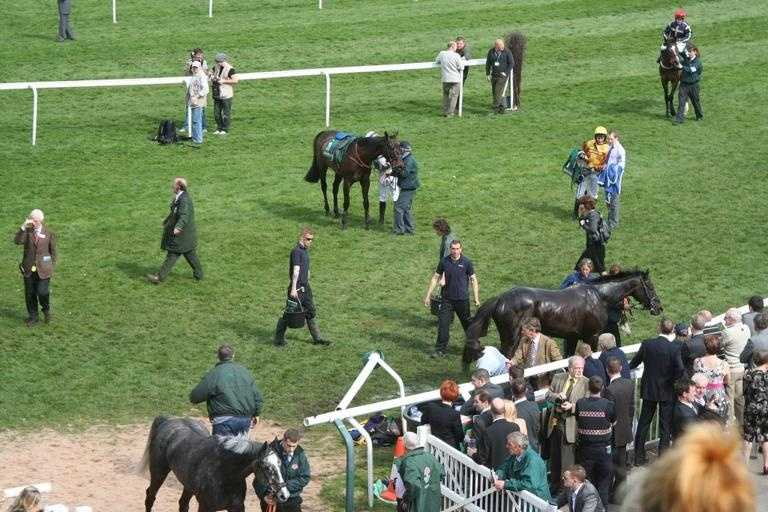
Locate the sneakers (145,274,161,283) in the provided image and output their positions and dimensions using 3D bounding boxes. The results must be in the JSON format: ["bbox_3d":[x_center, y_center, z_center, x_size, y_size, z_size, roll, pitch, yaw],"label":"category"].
[{"bbox_3d":[-4.680,0.498,36.192,0.350,0.137,0.122,16,40,-4],"label":"sneakers"}]

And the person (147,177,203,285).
[{"bbox_3d":[-4.184,-0.462,36.118,0.948,2.141,0.836,-4,11,-6],"label":"person"}]

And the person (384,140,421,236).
[{"bbox_3d":[0.438,-1.345,37.650,0.564,2.024,0.660,-3,11,-3],"label":"person"}]

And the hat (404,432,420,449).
[{"bbox_3d":[0.473,3.201,30.616,0.264,0.368,0.262,-2,39,-3],"label":"hat"}]

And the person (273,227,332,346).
[{"bbox_3d":[-1.648,0.604,35.050,1.036,2.343,1.256,-3,11,-4],"label":"person"}]

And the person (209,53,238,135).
[{"bbox_3d":[-3.642,-3.633,40.963,0.599,1.868,0.895,-4,11,-4],"label":"person"}]

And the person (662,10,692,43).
[{"bbox_3d":[6.871,-5.309,41.886,0.566,0.689,1.215,-1,11,8],"label":"person"}]

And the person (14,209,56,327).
[{"bbox_3d":[-6.741,0.243,34.854,0.735,2.257,0.761,-5,12,-11],"label":"person"}]

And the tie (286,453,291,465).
[{"bbox_3d":[-1.621,3.517,30.753,0.106,0.131,0.038,6,-1,5],"label":"tie"}]

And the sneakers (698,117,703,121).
[{"bbox_3d":[7.521,-3.182,42.335,0.126,0.064,0.101,4,-3,-2],"label":"sneakers"}]

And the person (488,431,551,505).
[{"bbox_3d":[2.407,3.937,30.727,1.185,1.601,0.810,-4,16,-12],"label":"person"}]

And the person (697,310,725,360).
[{"bbox_3d":[5.919,1.510,32.381,0.264,0.478,0.919,-7,47,-2],"label":"person"}]

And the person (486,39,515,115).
[{"bbox_3d":[2.771,-4.171,42.339,0.659,1.789,1.093,-2,11,4],"label":"person"}]

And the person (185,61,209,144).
[{"bbox_3d":[-4.190,-3.383,40.484,0.489,1.906,0.807,-4,11,-5],"label":"person"}]

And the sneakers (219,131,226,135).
[{"bbox_3d":[-3.691,-2.772,41.274,0.150,0.073,0.081,0,2,-13],"label":"sneakers"}]

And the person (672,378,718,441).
[{"bbox_3d":[5.207,2.625,29.951,0.622,1.493,0.516,-3,28,12],"label":"person"}]

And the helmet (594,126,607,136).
[{"bbox_3d":[4.656,-2.596,38.001,0.256,0.247,0.316,5,11,-6],"label":"helmet"}]

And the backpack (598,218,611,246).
[{"bbox_3d":[4.375,-0.406,35.469,0.360,0.580,0.473,-3,16,6],"label":"backpack"}]

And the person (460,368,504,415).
[{"bbox_3d":[1.764,2.464,31.514,0.608,0.993,0.661,5,15,35],"label":"person"}]

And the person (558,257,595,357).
[{"bbox_3d":[3.647,1.087,33.612,0.457,1.682,1.200,12,-14,8],"label":"person"}]

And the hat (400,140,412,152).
[{"bbox_3d":[0.454,-2.236,37.425,0.242,0.180,0.182,23,20,37],"label":"hat"}]

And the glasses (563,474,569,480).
[{"bbox_3d":[3.108,3.767,30.220,0.122,0.056,0.091,19,-4,-2],"label":"glasses"}]

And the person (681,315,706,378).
[{"bbox_3d":[5.721,1.638,32.363,0.477,1.319,0.383,-13,36,-4],"label":"person"}]

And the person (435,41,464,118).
[{"bbox_3d":[1.590,-4.088,42.260,0.640,1.792,0.978,-2,11,3],"label":"person"}]

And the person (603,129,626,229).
[{"bbox_3d":[4.852,-1.537,37.888,0.469,2.104,0.733,-2,11,5],"label":"person"}]

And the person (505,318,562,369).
[{"bbox_3d":[2.853,1.911,32.914,0.786,1.199,0.496,11,40,17],"label":"person"}]
